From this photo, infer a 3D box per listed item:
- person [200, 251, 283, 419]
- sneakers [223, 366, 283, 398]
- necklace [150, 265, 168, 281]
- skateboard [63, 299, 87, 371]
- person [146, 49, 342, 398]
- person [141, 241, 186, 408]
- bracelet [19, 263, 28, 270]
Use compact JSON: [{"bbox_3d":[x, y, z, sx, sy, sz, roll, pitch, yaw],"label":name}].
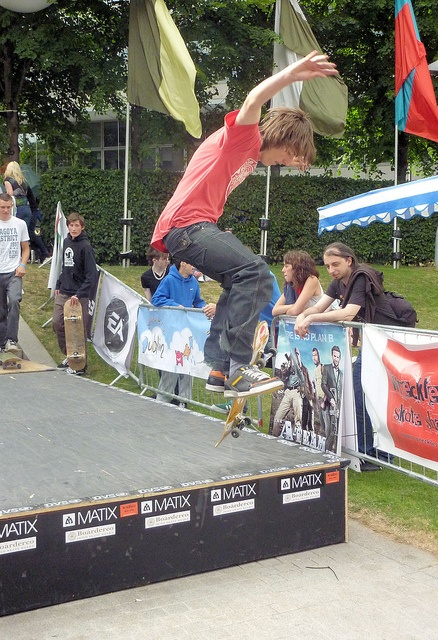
[{"bbox_3d":[0.377,0.141,6.831,0.240,1.567,0.430,13,-25,11],"label":"person"},{"bbox_3d":[0.174,0.352,4.491,0.344,0.147,0.146,-13,-16,33],"label":"sneakers"},{"bbox_3d":[-0.683,-0.559,8.912,0.178,0.231,0.055,-3,10,-19],"label":"necklace"},{"bbox_3d":[-1.730,0.197,9.434,0.271,0.932,0.248,-1,10,-20],"label":"skateboard"},{"bbox_3d":[0.096,-0.495,4.514,0.463,1.976,1.136,-6,12,-41],"label":"person"},{"bbox_3d":[-0.763,0.061,8.801,0.458,1.844,0.502,-29,-30,36],"label":"person"},{"bbox_3d":[-2.329,-0.665,9.351,0.069,0.020,0.071,25,-8,-34],"label":"bracelet"}]
